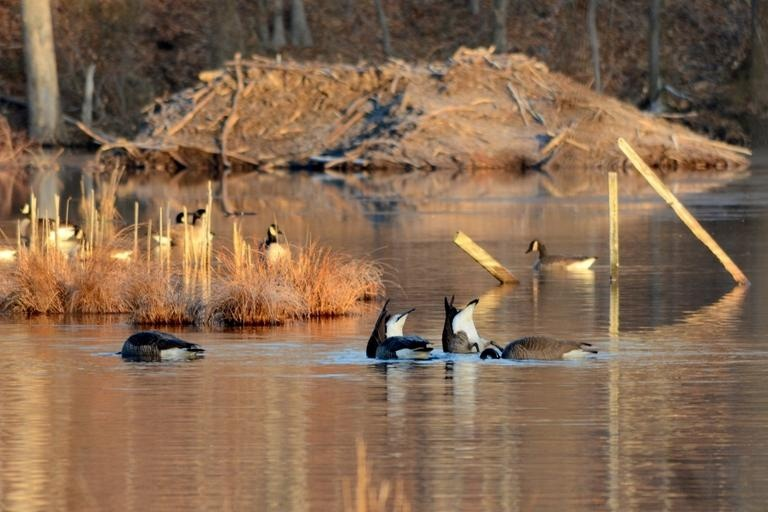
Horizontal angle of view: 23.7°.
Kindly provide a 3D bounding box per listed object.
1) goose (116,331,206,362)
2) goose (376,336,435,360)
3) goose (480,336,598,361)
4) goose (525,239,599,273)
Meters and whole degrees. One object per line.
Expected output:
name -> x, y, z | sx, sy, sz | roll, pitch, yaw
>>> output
goose -> -4.369, 1.859, 35.881 | 1.317, 0.621, 1.338 | 5, 5, 11
goose -> 0.369, 1.789, 35.309 | 1.106, 0.456, 0.543 | 0, -3, -1
goose -> 2.940, 1.803, 35.304 | 2.145, 0.454, 0.460 | 0, -3, 2
goose -> 4.341, 0.023, 44.919 | 1.967, 1.038, 0.660 | 0, -4, 7
